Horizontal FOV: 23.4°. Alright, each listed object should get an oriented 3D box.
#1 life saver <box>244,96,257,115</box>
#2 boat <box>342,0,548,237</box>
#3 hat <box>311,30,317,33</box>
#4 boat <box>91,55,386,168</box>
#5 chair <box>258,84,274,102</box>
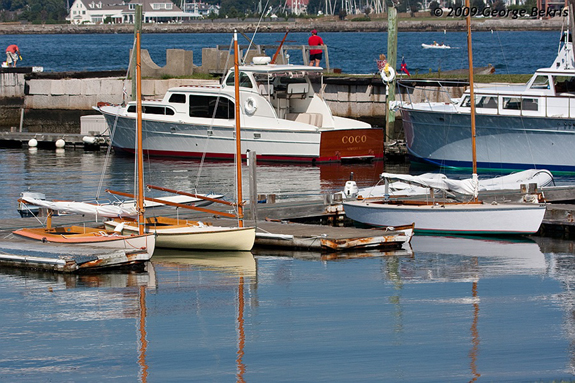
[{"bbox_3d":[-1.461,-3.405,54.689,0.365,0.741,0.705,-3,8,-42],"label":"life saver"},{"bbox_3d":[5.283,-0.732,46.357,6.217,4.861,3.276,-1,14,9],"label":"boat"},{"bbox_3d":[1.147,-6.969,60.738,0.217,0.086,0.241,-1,3,-7],"label":"hat"},{"bbox_3d":[-2.022,-2.852,56.869,11.233,3.717,4.506,1,7,19],"label":"boat"},{"bbox_3d":[-0.856,-3.919,55.278,0.743,0.840,0.663,1,18,-2],"label":"chair"}]
